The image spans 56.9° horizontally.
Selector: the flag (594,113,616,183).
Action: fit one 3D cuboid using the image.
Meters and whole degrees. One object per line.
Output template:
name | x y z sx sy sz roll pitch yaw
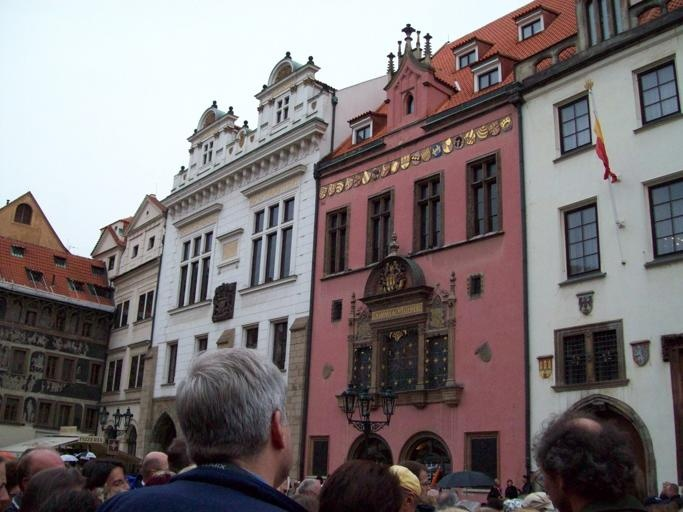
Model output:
flag | 6.616 -2.898 16.049 0.353 1.988 0.898 -14 -26 32
